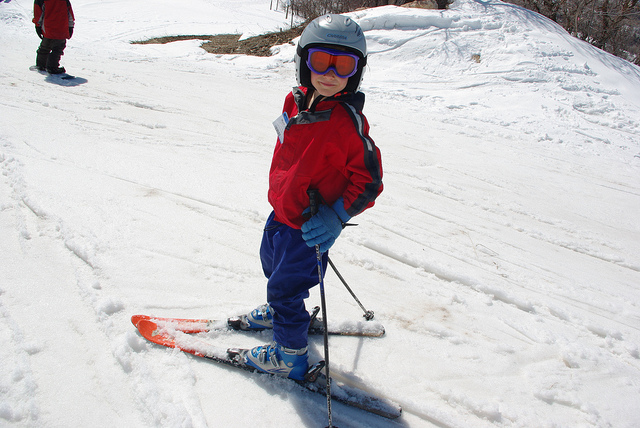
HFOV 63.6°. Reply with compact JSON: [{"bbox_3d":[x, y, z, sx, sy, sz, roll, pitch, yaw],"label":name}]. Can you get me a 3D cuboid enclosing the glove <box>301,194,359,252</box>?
[{"bbox_3d":[0.052,0.138,5.992,0.643,0.598,0.205,-22,-3,11],"label":"glove"}]
